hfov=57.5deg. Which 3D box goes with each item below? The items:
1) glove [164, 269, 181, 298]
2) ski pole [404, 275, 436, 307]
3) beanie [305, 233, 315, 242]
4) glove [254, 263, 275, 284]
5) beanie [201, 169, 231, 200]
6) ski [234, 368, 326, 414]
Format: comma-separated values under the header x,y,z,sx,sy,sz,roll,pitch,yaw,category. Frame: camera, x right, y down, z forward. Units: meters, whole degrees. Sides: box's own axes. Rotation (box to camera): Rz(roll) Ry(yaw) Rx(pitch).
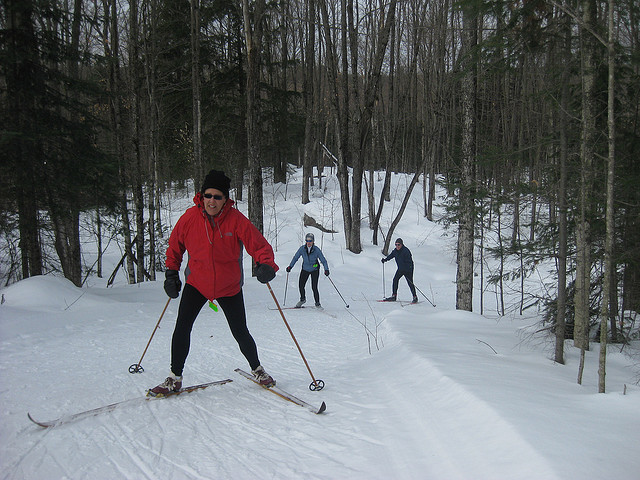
x,y,z,sx,sy,sz,roll,pitch,yaw,category
-2.138,0.630,8.426,0.252,0.393,0.141,-3,-7,21,glove
3.032,1.560,17.757,1.017,0.072,0.072,49,36,12,ski pole
-0.244,-0.063,14.689,0.160,0.275,0.656,2,13,6,beanie
-0.790,0.481,8.402,0.265,0.322,0.305,0,13,-5,glove
-1.479,-0.809,8.345,0.295,0.357,0.408,15,-3,-17,beanie
-0.629,2.284,8.730,0.138,0.194,1.301,0,19,-46,ski
